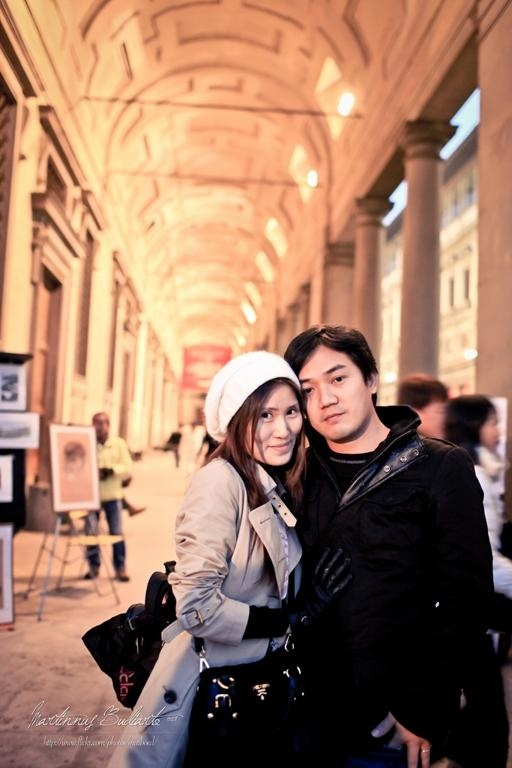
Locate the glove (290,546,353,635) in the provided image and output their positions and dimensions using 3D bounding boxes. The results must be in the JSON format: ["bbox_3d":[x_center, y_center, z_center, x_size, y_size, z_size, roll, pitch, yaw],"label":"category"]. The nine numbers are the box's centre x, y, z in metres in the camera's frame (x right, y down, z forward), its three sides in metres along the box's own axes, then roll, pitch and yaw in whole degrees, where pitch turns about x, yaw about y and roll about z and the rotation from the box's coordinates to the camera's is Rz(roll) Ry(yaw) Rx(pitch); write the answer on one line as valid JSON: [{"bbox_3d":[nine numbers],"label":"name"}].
[{"bbox_3d":[0.199,0.612,1.799,0.084,0.250,0.179,34,-11,21],"label":"glove"}]
